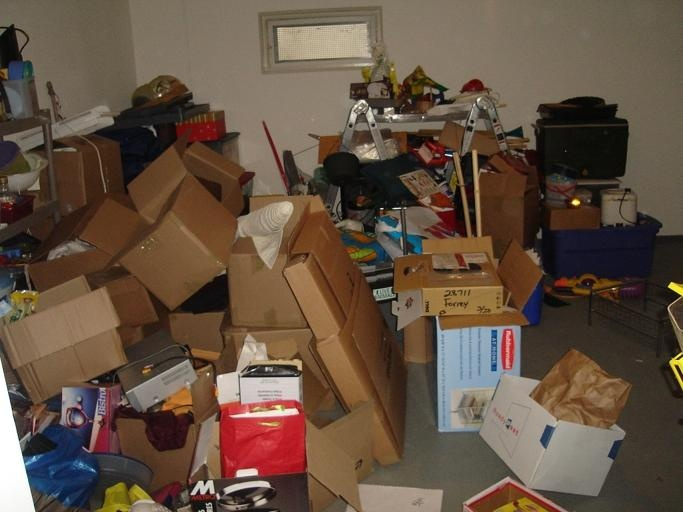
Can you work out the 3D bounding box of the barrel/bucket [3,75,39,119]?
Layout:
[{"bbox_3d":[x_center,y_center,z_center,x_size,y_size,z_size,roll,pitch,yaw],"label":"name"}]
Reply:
[{"bbox_3d":[-1.632,-0.803,2.845,0.107,0.187,0.191,-4,18,-6],"label":"barrel/bucket"}]

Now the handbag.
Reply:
[{"bbox_3d":[-0.316,0.765,2.343,0.338,0.388,0.134,-3,37,-7],"label":"handbag"}]
